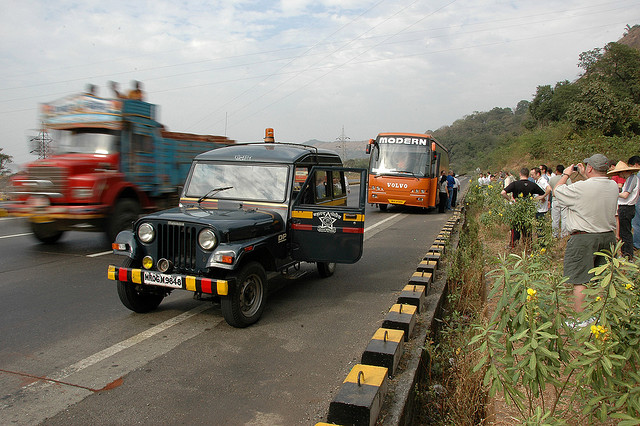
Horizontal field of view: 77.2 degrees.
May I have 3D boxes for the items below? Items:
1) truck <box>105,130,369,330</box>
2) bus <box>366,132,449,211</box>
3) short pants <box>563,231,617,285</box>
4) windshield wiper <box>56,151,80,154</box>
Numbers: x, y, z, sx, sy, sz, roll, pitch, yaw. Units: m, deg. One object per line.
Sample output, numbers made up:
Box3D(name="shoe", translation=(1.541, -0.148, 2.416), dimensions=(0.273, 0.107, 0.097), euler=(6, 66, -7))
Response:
Box3D(name="truck", translation=(-1.126, -0.048, 7.444), dimensions=(4.007, 2.490, 4.781), euler=(9, 14, 28))
Box3D(name="bus", translation=(3.914, -1.886, 19.111), dimensions=(2.647, 2.646, 6.694), euler=(3, 7, 20))
Box3D(name="short pants", translation=(3.332, 0.549, 4.944), dimensions=(0.769, 0.673, 0.429), euler=(1, 7, 2))
Box3D(name="windshield wiper", translation=(-6.575, -1.584, 10.447), dimensions=(0.636, 0.071, 0.072), euler=(3, 11, 13))
